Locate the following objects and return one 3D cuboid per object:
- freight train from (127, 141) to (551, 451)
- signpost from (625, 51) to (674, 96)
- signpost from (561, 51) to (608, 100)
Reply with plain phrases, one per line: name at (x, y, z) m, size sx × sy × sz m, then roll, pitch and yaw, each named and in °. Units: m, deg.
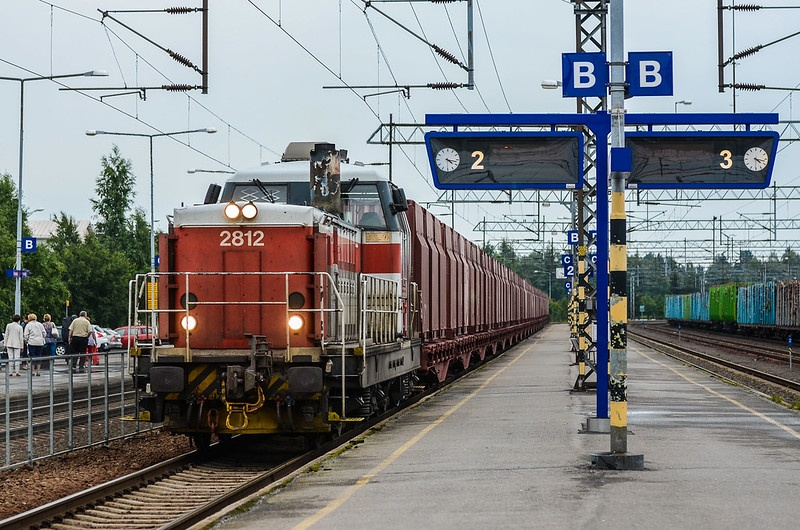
freight train at (1.752, 1.208, 41.804) m, size 4.393 × 6.286 × 48.357 m, roll -2°, pitch -3°, yaw 11°
signpost at (4.478, -3.462, 18.830) m, size 0.807 × 0.764 × 0.186 m, roll -2°, pitch -2°, yaw 1°
signpost at (3.396, -3.513, 19.221) m, size 0.846 × 0.876 × 0.452 m, roll -2°, pitch -2°, yaw 11°
